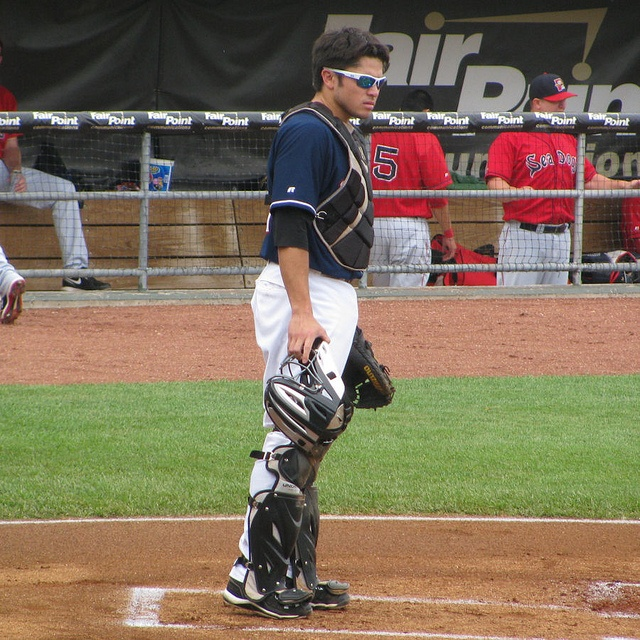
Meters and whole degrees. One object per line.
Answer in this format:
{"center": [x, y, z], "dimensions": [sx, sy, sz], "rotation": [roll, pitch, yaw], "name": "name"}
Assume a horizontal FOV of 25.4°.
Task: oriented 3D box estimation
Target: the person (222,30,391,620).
{"center": [-0.067, 0.002, 7.048], "dimensions": [0.819, 2.943, 0.386], "rotation": [0, 4, -9], "name": "person"}

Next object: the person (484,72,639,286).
{"center": [1.796, -1.149, 11.719], "dimensions": [0.568, 1.738, 1.230], "rotation": [3, 5, 37], "name": "person"}

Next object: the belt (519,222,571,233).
{"center": [1.837, -0.757, 11.559], "dimensions": [0.431, 0.091, 0.143], "rotation": [-2, 4, -28], "name": "belt"}

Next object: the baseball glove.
{"center": [0.250, 0.254, 7.208], "dimensions": [0.140, 0.392, 0.273], "rotation": [-18, 2, 24], "name": "baseball glove"}

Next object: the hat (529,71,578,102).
{"center": [1.868, -1.912, 11.557], "dimensions": [0.301, 0.180, 0.214], "rotation": [2, 26, 16], "name": "hat"}

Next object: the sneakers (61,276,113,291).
{"center": [-1.976, -0.343, 12.151], "dimensions": [0.404, 0.175, 0.140], "rotation": [-1, 7, -13], "name": "sneakers"}

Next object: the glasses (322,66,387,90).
{"center": [0.197, -1.203, 7.021], "dimensions": [0.184, 0.057, 0.142], "rotation": [14, 3, -10], "name": "glasses"}
